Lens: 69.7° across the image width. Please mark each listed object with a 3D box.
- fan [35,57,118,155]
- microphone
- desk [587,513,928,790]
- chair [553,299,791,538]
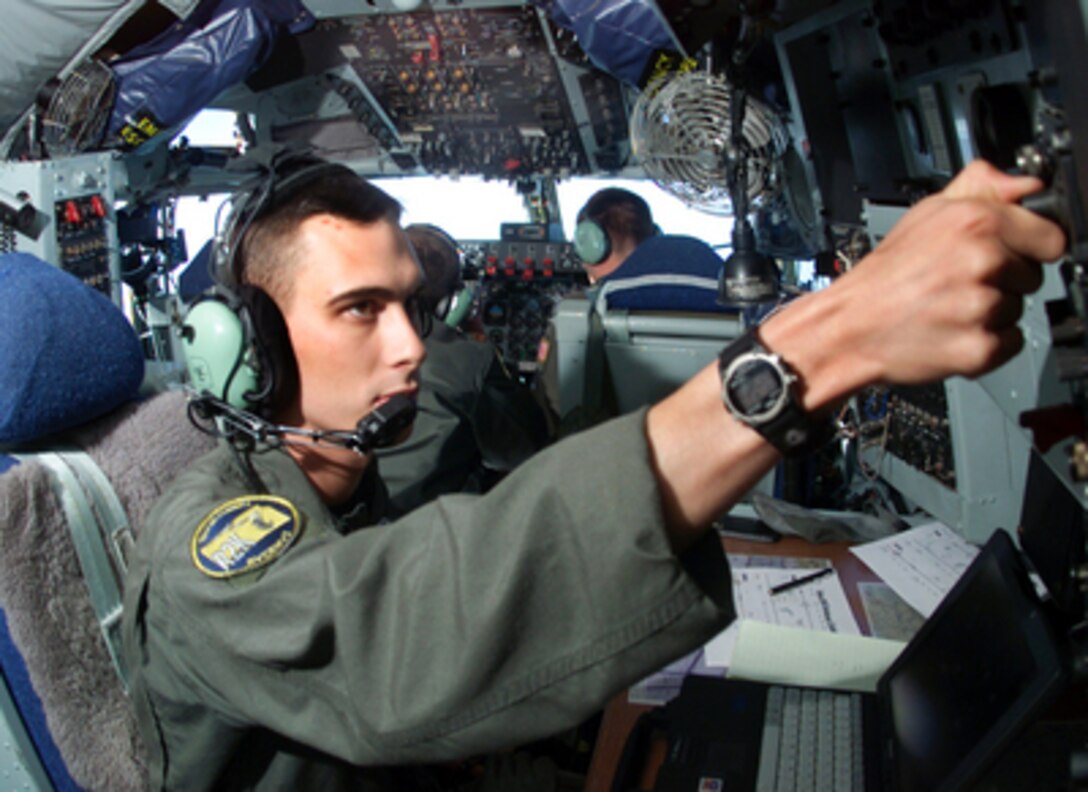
[{"bbox_3d":[-2.580,-1.573,4.352,0.452,0.471,0.207,-16,14,-28],"label":"fan"},{"bbox_3d":[-0.441,0.067,1.470,0.285,0.079,0.172,5,-8,6],"label":"microphone"},{"bbox_3d":[0.443,0.542,1.576,0.728,0.200,0.524,6,10,5],"label":"desk"},{"bbox_3d":[0.517,-0.038,3.080,0.788,0.960,0.797,-2,30,15],"label":"chair"}]
